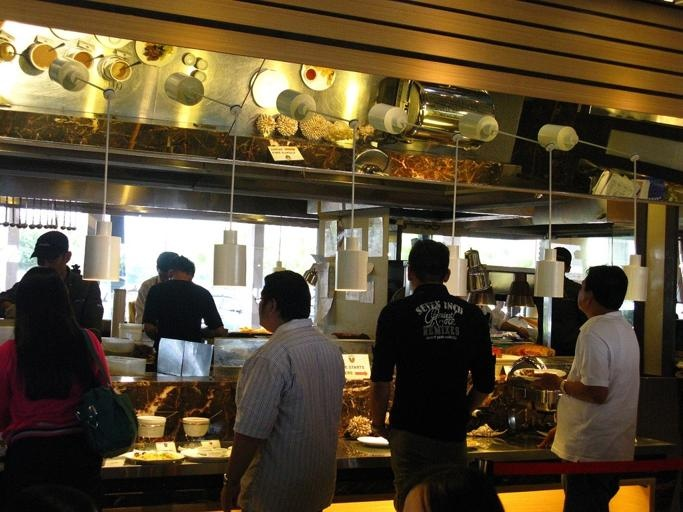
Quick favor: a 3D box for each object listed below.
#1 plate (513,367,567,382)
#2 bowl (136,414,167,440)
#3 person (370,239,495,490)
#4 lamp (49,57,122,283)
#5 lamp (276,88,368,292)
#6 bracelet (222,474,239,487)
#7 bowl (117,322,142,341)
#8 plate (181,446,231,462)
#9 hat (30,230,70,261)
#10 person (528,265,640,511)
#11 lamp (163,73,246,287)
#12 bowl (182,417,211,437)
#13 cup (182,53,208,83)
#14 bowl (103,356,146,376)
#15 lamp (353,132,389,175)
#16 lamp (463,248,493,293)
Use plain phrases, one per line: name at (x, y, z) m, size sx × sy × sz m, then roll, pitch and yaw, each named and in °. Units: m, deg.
plate at (1.242, 0.709, 3.736) m, size 0.251 × 0.057 × 0.160 m, roll 11°, pitch -13°, yaw -11°
bowl at (-1.050, 0.944, 3.331) m, size 0.144 × 0.081 × 0.138 m, roll 1°, pitch -5°, yaw 0°
person at (0.450, 0.544, 2.993) m, size 0.607 × 1.223 × 0.376 m, roll 1°, pitch 0°, yaw 10°
lamp at (-1.104, -0.372, 2.615) m, size 0.338 × 0.894 × 0.175 m, roll 2°, pitch 6°, yaw -41°
lamp at (-0.070, -0.326, 2.987) m, size 0.493 × 0.997 × 0.447 m, roll 1°, pitch 0°, yaw -24°
bracelet at (-0.499, 1.009, 2.718) m, size 0.068 × 0.065 × 0.048 m, roll 1°, pitch 0°, yaw 3°
bowl at (-1.650, 0.585, 4.730) m, size 0.171 × 0.097 × 0.166 m, roll 1°, pitch -5°, yaw 0°
plate at (-0.710, 1.041, 3.181) m, size 0.190 × 0.025 × 0.129 m, roll 4°, pitch -6°, yaw -27°
hat at (-1.820, -0.077, 3.752) m, size 0.162 × 0.121 × 0.218 m, roll -1°, pitch -3°, yaw 9°
person at (1.328, 0.582, 3.272) m, size 0.509 × 1.235 × 0.390 m, roll 1°, pitch 0°, yaw 24°
lamp at (-0.648, -0.363, 2.987) m, size 0.385 × 1.034 × 0.394 m, roll 1°, pitch 0°, yaw 5°
bowl at (-0.823, 0.955, 3.432) m, size 0.136 × 0.080 × 0.130 m, roll 1°, pitch -1°, yaw 0°
cup at (-0.689, -0.897, 2.840) m, size 0.122 × 0.137 × 0.064 m, roll 1°, pitch 0°, yaw -21°
bowl at (-1.304, 0.662, 3.632) m, size 0.223 × 0.096 × 0.117 m, roll 0°, pitch 0°, yaw 18°
lamp at (0.163, -0.567, 3.320) m, size 0.209 × 0.182 × 0.202 m, roll -17°, pitch 40°, yaw -12°
lamp at (1.065, 0.113, 4.868) m, size 0.247 × 0.300 × 0.257 m, roll -13°, pitch 8°, yaw -23°
